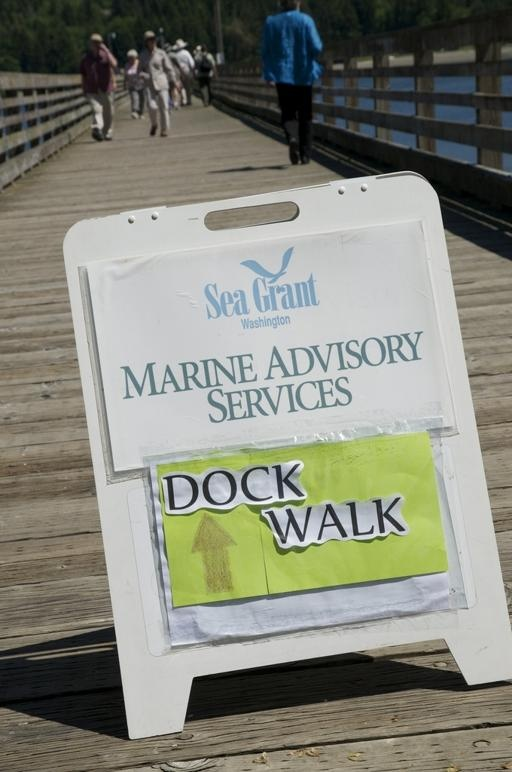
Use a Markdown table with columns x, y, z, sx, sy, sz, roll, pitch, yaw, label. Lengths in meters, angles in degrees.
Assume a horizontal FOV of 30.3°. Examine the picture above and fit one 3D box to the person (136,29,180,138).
| x | y | z | sx | sy | sz | roll | pitch | yaw | label |
| --- | --- | --- | --- | --- | --- | --- | --- | --- | --- |
| -1.525 | -4.554 | 14.323 | 0.654 | 1.457 | 0.518 | 0 | 21 | 5 | person |
